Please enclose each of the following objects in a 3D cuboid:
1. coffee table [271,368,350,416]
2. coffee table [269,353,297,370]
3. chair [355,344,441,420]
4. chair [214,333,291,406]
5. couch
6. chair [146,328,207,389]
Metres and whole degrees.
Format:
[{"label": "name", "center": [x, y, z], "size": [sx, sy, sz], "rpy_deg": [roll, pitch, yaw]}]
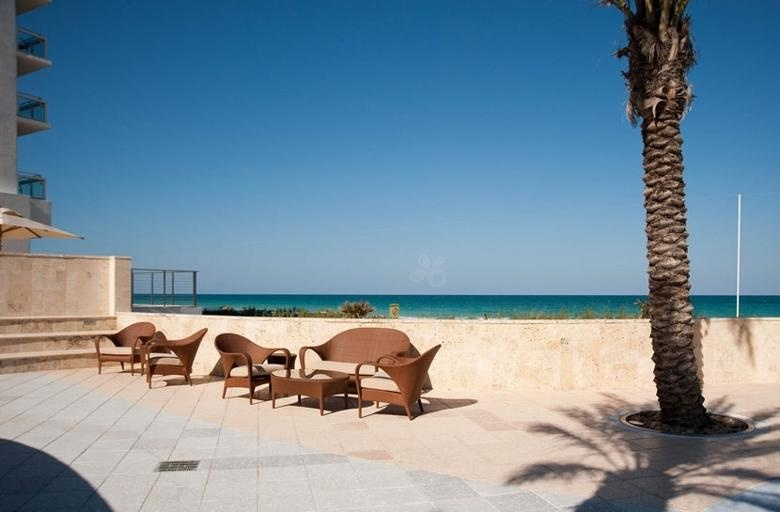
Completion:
[{"label": "coffee table", "center": [-1.327, 2.521, 11.273], "size": [1.187, 0.396, 0.888], "rpy_deg": [-4, -5, 36]}, {"label": "coffee table", "center": [-2.380, 2.238, 12.476], "size": [0.434, 0.291, 0.410], "rpy_deg": [1, -6, -6]}, {"label": "chair", "center": [0.148, 2.349, 11.232], "size": [1.500, 1.202, 1.289], "rpy_deg": [-1, -2, 24]}, {"label": "chair", "center": [-2.860, 2.299, 12.244], "size": [1.669, 1.103, 1.502], "rpy_deg": [2, 0, -17]}, {"label": "couch", "center": [-0.777, 2.212, 12.182], "size": [2.268, 1.281, 1.370], "rpy_deg": [-5, -4, 38]}, {"label": "chair", "center": [-5.066, 2.357, 13.555], "size": [1.518, 1.238, 1.443], "rpy_deg": [1, -6, -14]}]
